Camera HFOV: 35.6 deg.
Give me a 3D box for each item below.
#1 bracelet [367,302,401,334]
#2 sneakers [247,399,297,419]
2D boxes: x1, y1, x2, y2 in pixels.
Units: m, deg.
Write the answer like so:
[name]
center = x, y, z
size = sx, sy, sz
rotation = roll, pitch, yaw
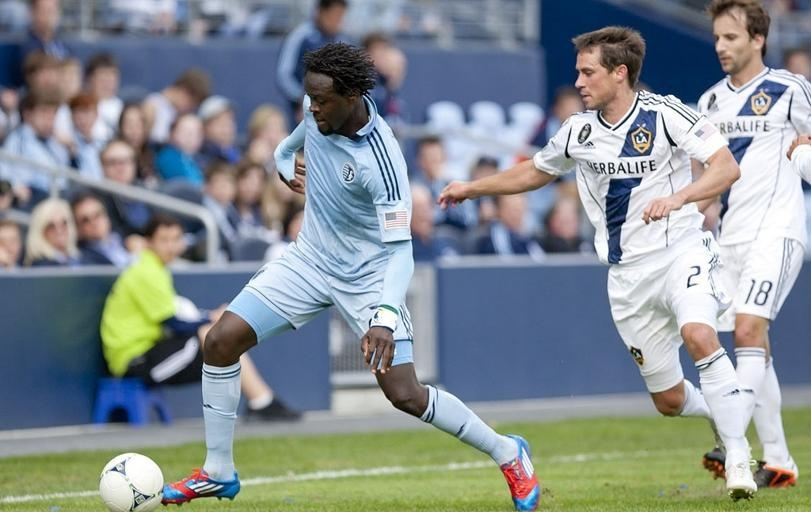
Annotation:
[bracelet]
center = -0.158, 0.473, 9.866
size = 0.212, 0.203, 0.218
rotation = 7, 41, -9
[sneakers]
center = -1.452, 1.672, 13.965
size = 0.611, 0.253, 0.210
rotation = 1, -2, -9
